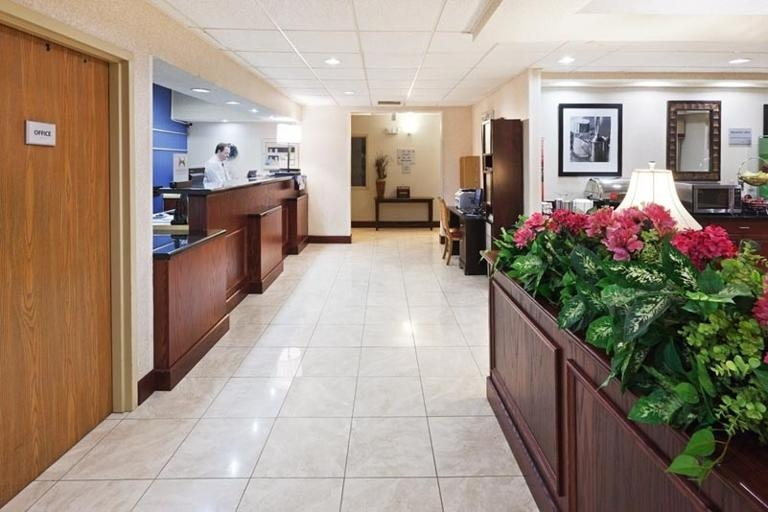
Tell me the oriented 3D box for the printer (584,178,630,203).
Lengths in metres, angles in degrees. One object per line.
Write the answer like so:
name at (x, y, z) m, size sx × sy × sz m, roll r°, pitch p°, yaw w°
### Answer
printer at (3.176, -0.929, 7.141) m, size 0.452 × 0.275 × 0.452 m, roll -1°, pitch 6°, yaw 1°

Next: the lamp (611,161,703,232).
lamp at (2.006, -0.451, 3.862) m, size 0.823 × 0.551 × 0.861 m, roll 6°, pitch 3°, yaw 29°

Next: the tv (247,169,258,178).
tv at (-2.538, -1.554, 9.738) m, size 0.171 × 0.133 × 0.968 m, roll -3°, pitch 12°, yaw -15°

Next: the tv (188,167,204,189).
tv at (-2.770, -1.168, 7.523) m, size 0.179 × 0.238 × 0.614 m, roll -3°, pitch 12°, yaw -15°

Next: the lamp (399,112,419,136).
lamp at (0.656, -3.490, 13.543) m, size 0.493 × 0.544 × 0.495 m, roll -3°, pitch 19°, yaw -6°

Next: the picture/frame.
picture/frame at (3.240, -1.858, 7.917) m, size 1.099 × 1.236 × 0.050 m, roll 0°, pitch 3°, yaw -3°

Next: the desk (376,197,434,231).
desk at (0.556, -1.165, 13.707) m, size 1.608 × 0.842 × 0.406 m, roll -1°, pitch 10°, yaw -2°

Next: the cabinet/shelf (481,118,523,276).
cabinet/shelf at (1.778, -1.071, 7.855) m, size 0.454 × 2.013 × 0.853 m, roll -5°, pitch 11°, yaw -24°

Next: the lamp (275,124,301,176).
lamp at (-1.964, -2.270, 10.630) m, size 0.494 × 0.943 × 1.252 m, roll -2°, pitch 11°, yaw -10°

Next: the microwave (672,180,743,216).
microwave at (4.090, -0.722, 6.365) m, size 0.443 × 0.319 × 0.628 m, roll 0°, pitch 5°, yaw 9°
